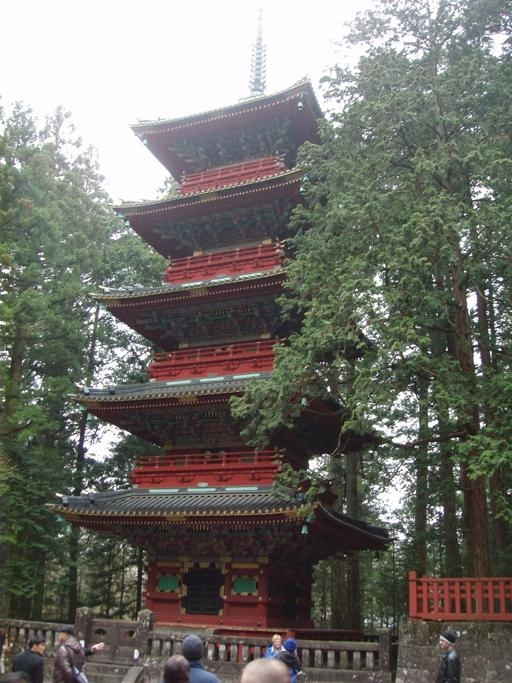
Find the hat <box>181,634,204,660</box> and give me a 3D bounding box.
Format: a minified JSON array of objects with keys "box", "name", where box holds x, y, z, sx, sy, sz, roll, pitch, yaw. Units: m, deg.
[{"box":[-0.593,2.864,6.940,0.204,0.190,0.254,0,-25,-13],"name":"hat"}]
